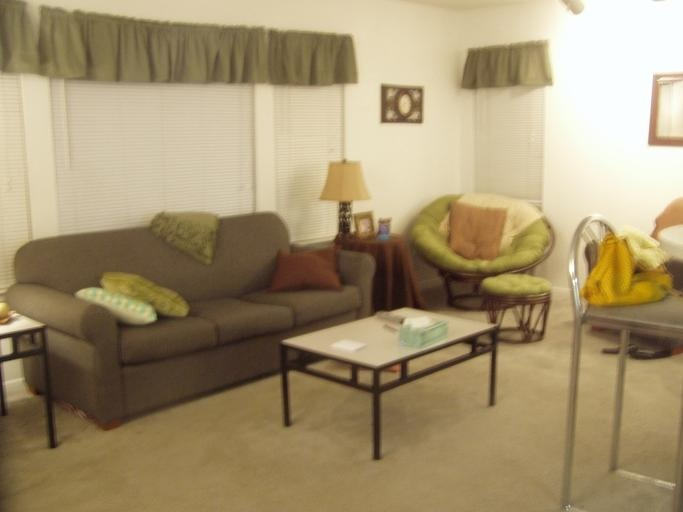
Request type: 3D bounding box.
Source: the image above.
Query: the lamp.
[{"bbox_3d":[0.075,-0.554,5.448,0.611,0.997,0.600,0,4,-3],"label":"lamp"}]

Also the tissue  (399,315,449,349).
[{"bbox_3d":[0.482,0.452,3.370,0.223,0.079,0.176,5,11,39],"label":"tissue "}]

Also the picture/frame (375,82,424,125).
[{"bbox_3d":[0.582,-1.654,6.079,0.529,0.311,0.053,-8,11,-40],"label":"picture/frame"}]

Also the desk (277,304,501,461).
[{"bbox_3d":[0.138,0.556,3.435,0.817,0.528,1.199,7,12,41],"label":"desk"}]

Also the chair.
[{"bbox_3d":[1.537,0.187,5.919,1.443,0.885,1.355,15,1,-1],"label":"chair"}]

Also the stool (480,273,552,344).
[{"bbox_3d":[1.539,0.468,4.949,0.575,0.474,0.557,-10,8,-38],"label":"stool"}]
